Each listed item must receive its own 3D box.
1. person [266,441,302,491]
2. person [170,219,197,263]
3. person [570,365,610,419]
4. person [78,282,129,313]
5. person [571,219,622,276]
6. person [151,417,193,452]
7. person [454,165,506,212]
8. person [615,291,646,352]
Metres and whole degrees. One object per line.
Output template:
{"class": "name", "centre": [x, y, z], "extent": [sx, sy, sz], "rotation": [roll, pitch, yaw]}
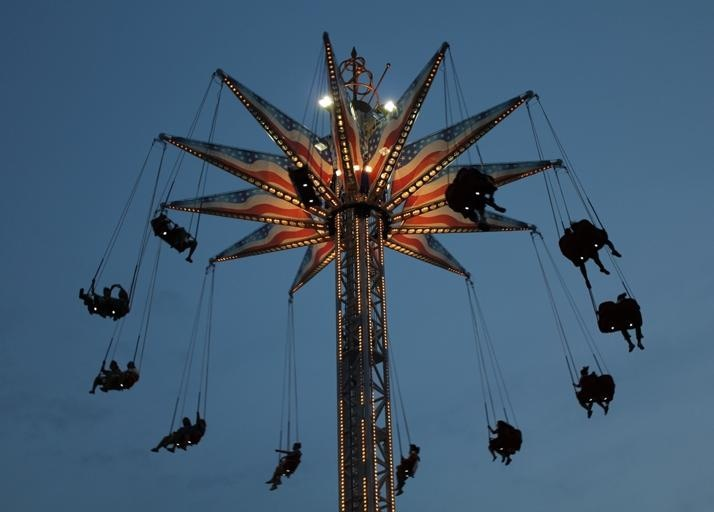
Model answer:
{"class": "person", "centre": [-2.299, 6.341, 39.212], "extent": [0.780, 1.526, 0.719], "rotation": [11, -4, 16]}
{"class": "person", "centre": [-5.060, -0.503, 38.292], "extent": [0.652, 1.006, 0.821], "rotation": [-4, -70, -6]}
{"class": "person", "centre": [6.815, 3.860, 36.708], "extent": [0.894, 1.276, 0.965], "rotation": [-5, -7, 20]}
{"class": "person", "centre": [-7.290, 1.095, 36.764], "extent": [1.477, 0.804, 1.082], "rotation": [10, -3, -18]}
{"class": "person", "centre": [5.505, -0.295, 30.413], "extent": [0.968, 1.405, 0.332], "rotation": [-42, -9, 27]}
{"class": "person", "centre": [-5.327, 5.322, 37.723], "extent": [1.796, 0.868, 0.576], "rotation": [-6, -18, 26]}
{"class": "person", "centre": [3.194, -1.871, 34.778], "extent": [1.175, 1.708, 0.724], "rotation": [3, -36, -4]}
{"class": "person", "centre": [7.588, 1.766, 35.952], "extent": [0.681, 2.328, 0.359], "rotation": [-6, -47, 2]}
